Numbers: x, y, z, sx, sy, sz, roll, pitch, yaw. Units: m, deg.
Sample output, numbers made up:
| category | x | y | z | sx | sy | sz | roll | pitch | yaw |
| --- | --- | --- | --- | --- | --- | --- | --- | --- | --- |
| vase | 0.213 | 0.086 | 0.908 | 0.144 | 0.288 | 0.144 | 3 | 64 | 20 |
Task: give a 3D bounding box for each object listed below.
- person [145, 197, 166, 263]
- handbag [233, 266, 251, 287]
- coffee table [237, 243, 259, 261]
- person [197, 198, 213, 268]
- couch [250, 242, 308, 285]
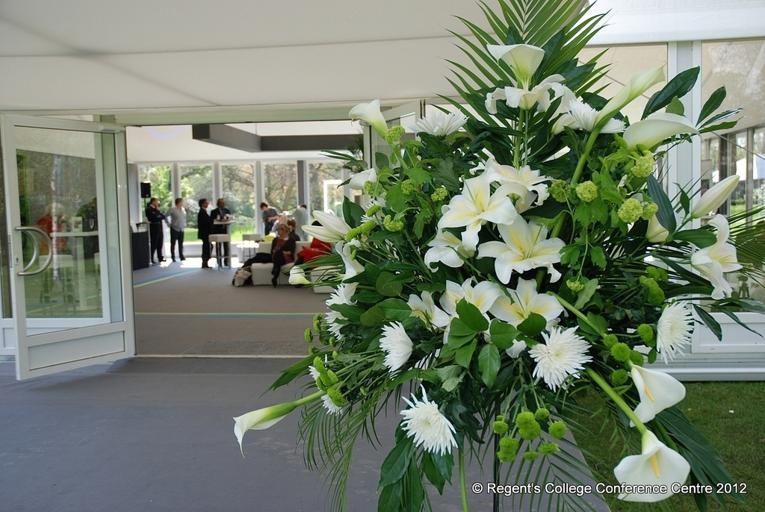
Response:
| category | x | y | z | sx | sy | sz | roll | pitch | yaw |
| --- | --- | --- | --- | --- | --- | --- | --- | --- | --- |
| person | -6.115 | -0.684 | 14.358 | 0.436 | 1.759 | 0.909 | -3 | 5 | -22 |
| handbag | -2.710 | 0.394 | 10.214 | 0.183 | 0.294 | 0.388 | 36 | -8 | -6 |
| coffee table | -3.513 | -0.150 | 13.740 | 0.694 | 0.409 | 0.688 | -1 | 3 | -5 |
| person | -4.425 | -0.574 | 13.235 | 0.330 | 1.736 | 0.843 | -2 | 5 | -18 |
| couch | -1.641 | 0.109 | 8.130 | 0.840 | 0.560 | 0.456 | 0 | 3 | 4 |
